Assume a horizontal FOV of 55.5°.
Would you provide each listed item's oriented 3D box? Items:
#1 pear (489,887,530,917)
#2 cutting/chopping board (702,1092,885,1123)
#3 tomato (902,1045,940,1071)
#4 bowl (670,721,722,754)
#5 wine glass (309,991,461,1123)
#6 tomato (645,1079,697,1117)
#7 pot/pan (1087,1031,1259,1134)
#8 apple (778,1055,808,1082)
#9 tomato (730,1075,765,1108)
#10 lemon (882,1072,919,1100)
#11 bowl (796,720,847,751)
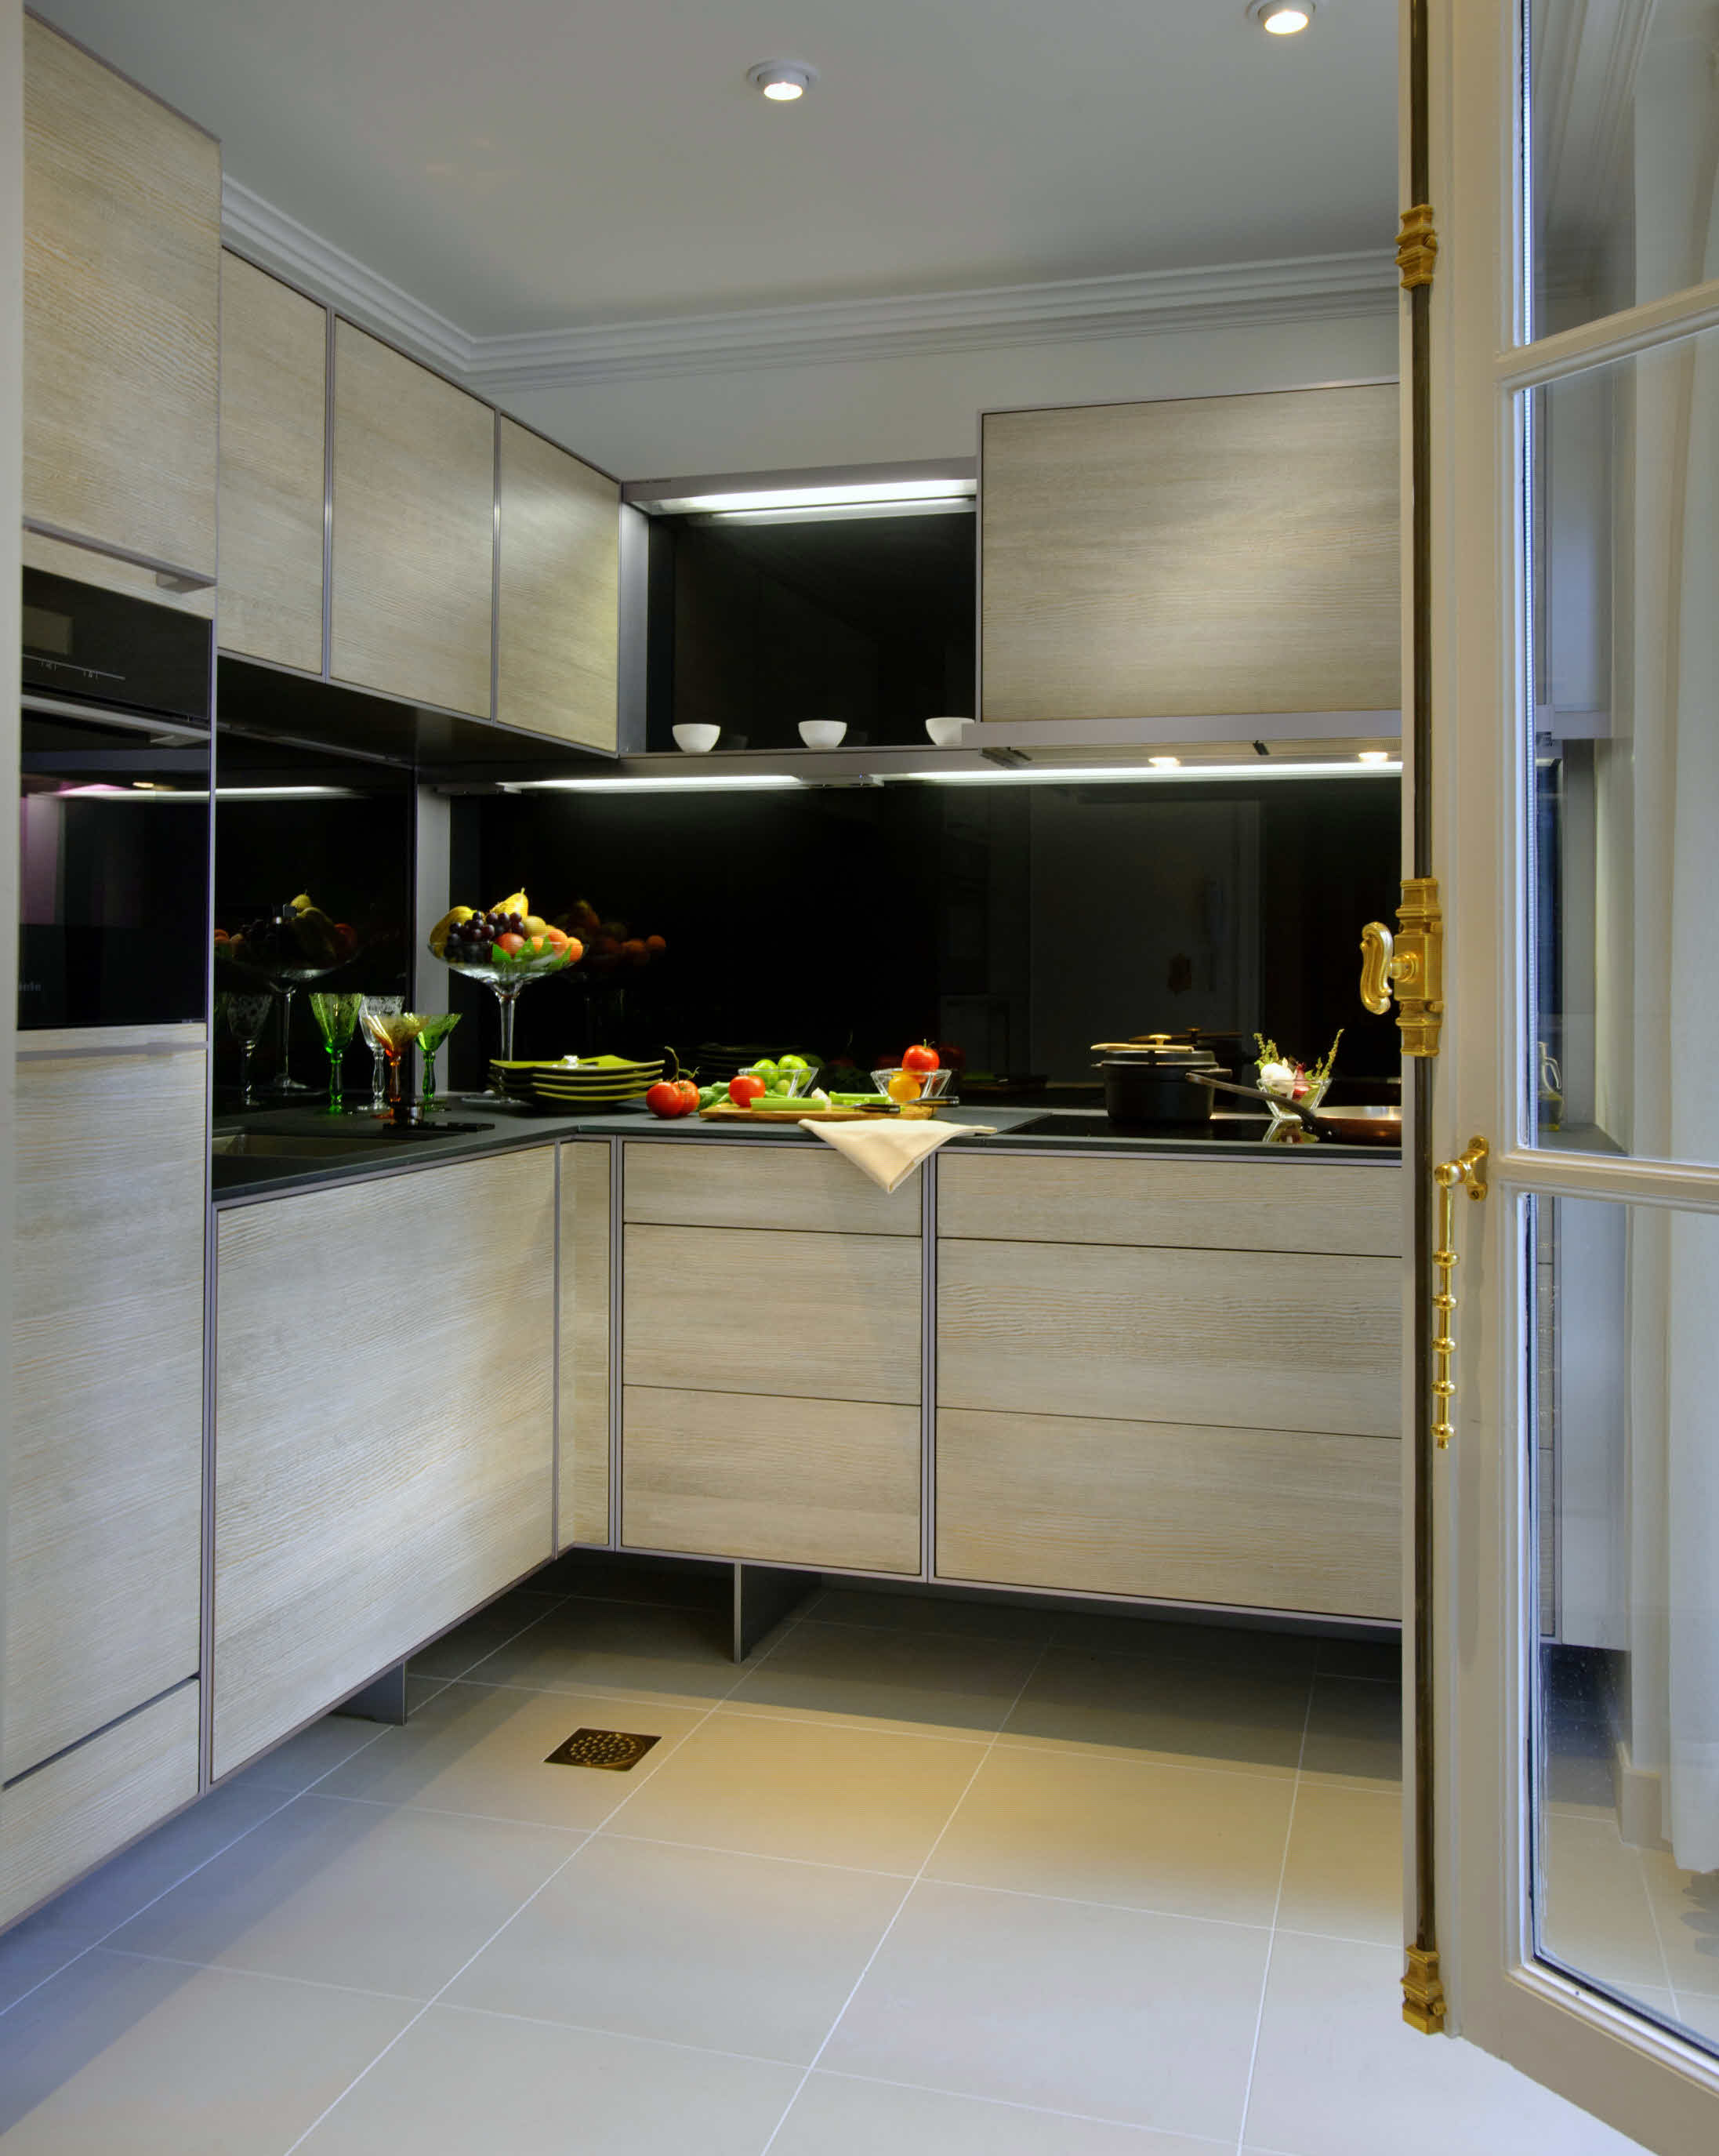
[{"bbox_3d":[-0.736,-0.374,3.447,0.033,0.046,0.097,-33,21,9],"label":"pear"},{"bbox_3d":[-0.053,0.055,2.988,0.348,0.050,0.377,0,-1,44],"label":"cutting/chopping board"},{"bbox_3d":[0.123,-0.036,3.141,0.048,0.059,0.050,22,-10,-23],"label":"tomato"},{"bbox_3d":[-0.333,-0.711,3.402,0.082,0.058,0.086,-1,7,0],"label":"bowl"},{"bbox_3d":[-0.860,-0.038,3.031,0.283,0.310,0.247,2,-2,-43],"label":"wine glass"},{"bbox_3d":[-0.344,0.039,3.059,0.066,0.057,0.073,4,-1,-21],"label":"tomato"},{"bbox_3d":[0.564,0.013,2.970,0.204,0.123,0.218,1,3,20],"label":"pot/pan"},{"bbox_3d":[-0.124,-0.016,3.295,0.048,0.029,0.047,11,14,32],"label":"apple"},{"bbox_3d":[-0.208,0.018,3.070,0.054,0.061,0.058,2,9,-12],"label":"tomato"},{"bbox_3d":[0.083,0.016,3.023,0.059,0.051,0.054,1,-1,4],"label":"lemon"},{"bbox_3d":[-0.064,-0.690,3.276,0.077,0.050,0.078,0,6,0],"label":"bowl"}]
